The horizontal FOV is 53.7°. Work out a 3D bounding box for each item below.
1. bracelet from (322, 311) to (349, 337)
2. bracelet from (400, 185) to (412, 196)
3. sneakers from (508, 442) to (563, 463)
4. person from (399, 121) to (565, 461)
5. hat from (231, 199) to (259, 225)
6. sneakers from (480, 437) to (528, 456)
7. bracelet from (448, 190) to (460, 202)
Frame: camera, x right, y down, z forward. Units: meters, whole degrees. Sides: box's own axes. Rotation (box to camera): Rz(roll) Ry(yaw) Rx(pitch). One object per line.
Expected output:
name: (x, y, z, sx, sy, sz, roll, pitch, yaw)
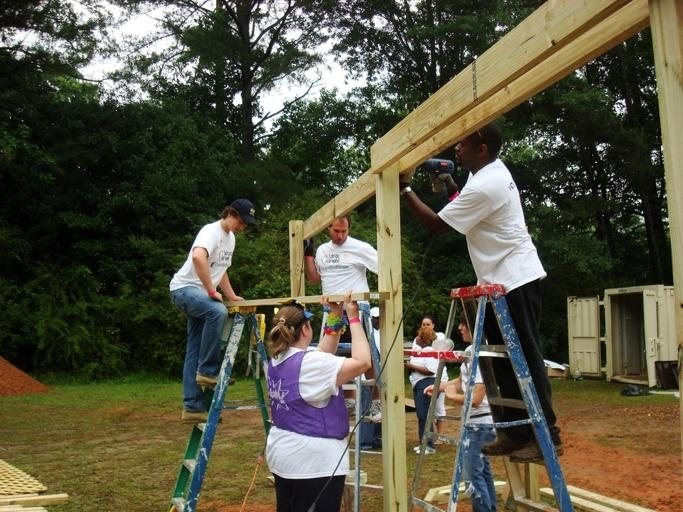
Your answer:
bracelet: (-0.046, 0.661, 6.718, 0.186, 0.202, 0.223, -5, 7, -10)
bracelet: (0.666, -0.670, 6.774, 0.092, 0.096, 0.097, -29, 13, 28)
sneakers: (1.862, 1.830, 6.403, 0.443, 0.229, 0.205, 1, -11, -10)
person: (1.367, 0.344, 6.757, 1.072, 3.212, 1.424, 1, -5, -43)
hat: (-1.147, -0.514, 8.084, 0.341, 0.205, 0.253, 40, 14, 15)
sneakers: (1.560, 1.805, 6.418, 0.411, 0.231, 0.175, 3, -7, -5)
bracelet: (1.169, -0.619, 6.941, 0.144, 0.087, 0.120, -23, -3, 3)
